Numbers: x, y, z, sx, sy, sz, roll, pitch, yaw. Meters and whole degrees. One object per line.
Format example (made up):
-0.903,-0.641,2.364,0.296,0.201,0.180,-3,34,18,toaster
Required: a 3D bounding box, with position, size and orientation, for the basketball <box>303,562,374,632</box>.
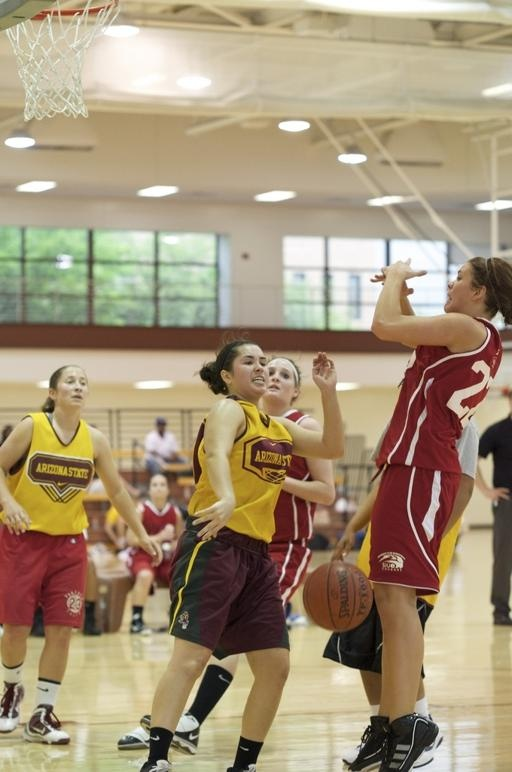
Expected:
0.231,0.644,2.638,0.248,0.213,0.225,1,5,-17,basketball
